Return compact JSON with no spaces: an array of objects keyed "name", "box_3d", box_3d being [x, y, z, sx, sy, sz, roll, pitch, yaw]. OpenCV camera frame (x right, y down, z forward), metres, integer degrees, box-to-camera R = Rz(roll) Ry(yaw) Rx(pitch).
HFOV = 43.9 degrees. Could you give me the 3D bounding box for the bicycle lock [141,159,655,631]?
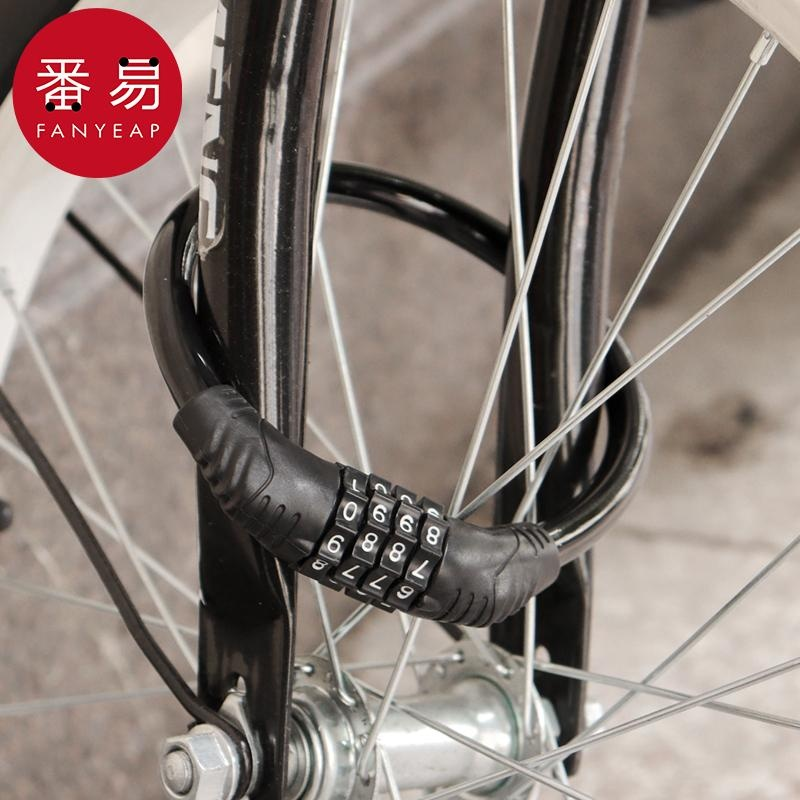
[{"name":"bicycle lock","box_3d":[-0.025,-0.018,0.510,0.234,0.280,0.051,29,-59,-20]}]
